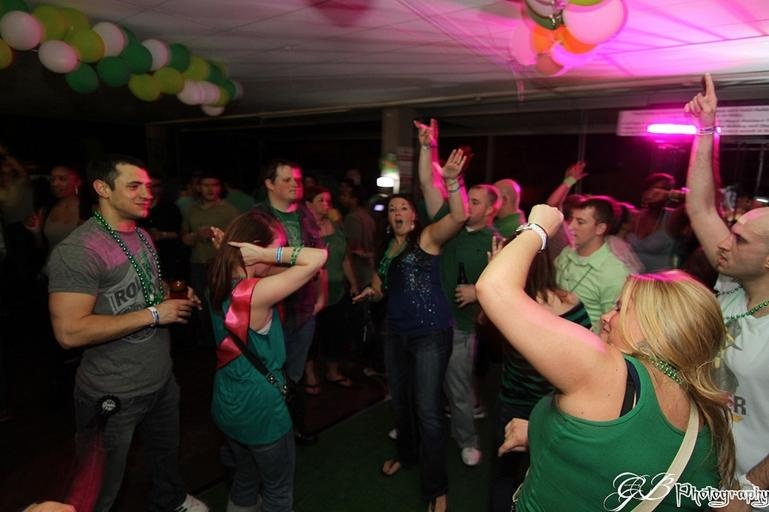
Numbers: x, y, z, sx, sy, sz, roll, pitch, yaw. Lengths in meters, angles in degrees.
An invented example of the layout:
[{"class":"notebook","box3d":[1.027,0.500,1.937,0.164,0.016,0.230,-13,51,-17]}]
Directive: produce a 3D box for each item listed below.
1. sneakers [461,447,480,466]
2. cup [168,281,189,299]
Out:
[{"class":"sneakers","box3d":[0.667,1.537,3.928,0.128,0.090,0.124,3,-10,-26]},{"class":"cup","box3d":[-1.242,0.208,3.128,0.108,0.098,0.108,2,11,0]}]
